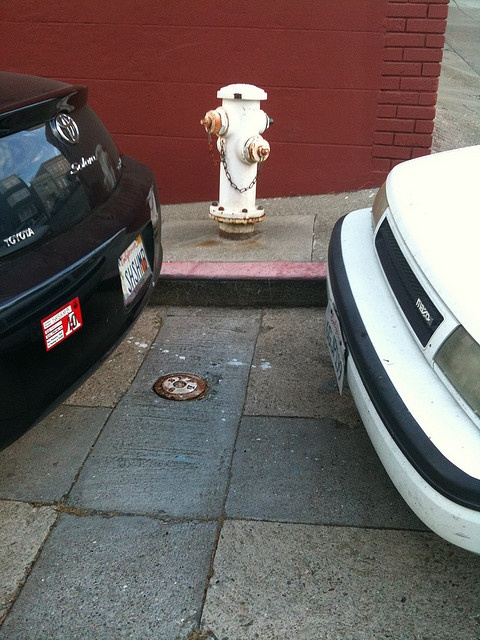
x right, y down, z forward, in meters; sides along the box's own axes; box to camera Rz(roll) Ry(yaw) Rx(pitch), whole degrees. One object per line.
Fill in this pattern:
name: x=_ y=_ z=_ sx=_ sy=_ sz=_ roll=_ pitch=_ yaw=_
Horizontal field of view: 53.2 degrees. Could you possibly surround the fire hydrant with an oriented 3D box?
fire hydrant: x=-0.010 y=-1.435 z=4.212 sx=0.587 sy=1.112 sz=0.374 roll=-1 pitch=36 yaw=4
